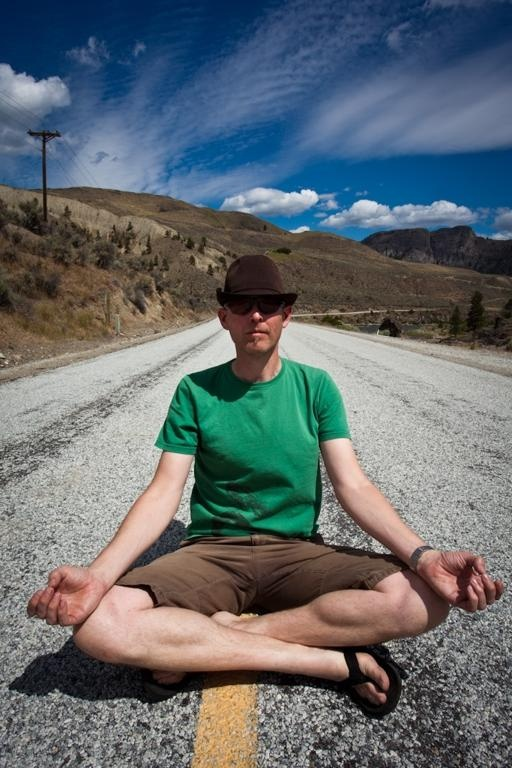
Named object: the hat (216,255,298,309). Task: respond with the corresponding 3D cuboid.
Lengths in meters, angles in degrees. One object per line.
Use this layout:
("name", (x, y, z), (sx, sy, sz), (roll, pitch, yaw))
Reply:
("hat", (-0.007, -0.408, 2.086), (0.363, 0.169, 0.463), (0, -2, -2))

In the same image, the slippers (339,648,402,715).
("slippers", (0.365, 0.909, 1.615), (0.081, 0.129, 0.213), (21, 7, -33))

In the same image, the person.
("person", (0.042, 0.305, 1.818), (1.517, 1.388, 0.891), (1, 3, -5))

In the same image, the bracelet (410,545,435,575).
("bracelet", (0.533, 0.567, 1.680), (0.065, 0.090, 0.061), (-1, 13, -2))

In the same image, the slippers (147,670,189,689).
("slippers", (-0.284, 0.917, 1.629), (0.086, 0.029, 0.063), (-1, -18, 18))
